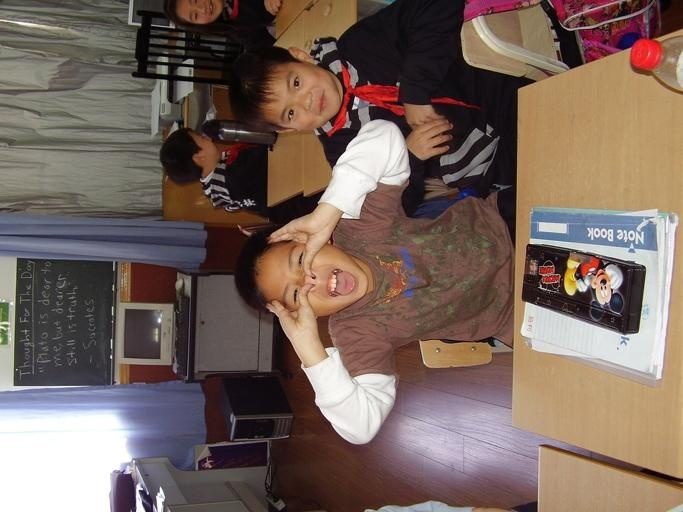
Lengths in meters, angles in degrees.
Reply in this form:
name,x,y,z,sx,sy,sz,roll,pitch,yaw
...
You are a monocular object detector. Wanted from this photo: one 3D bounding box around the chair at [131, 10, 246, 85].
name,x,y,z,sx,sy,sz,roll,pitch,yaw
chair,-0.809,-1.149,2.782,0.523,0.473,0.681,-1,6,-12
